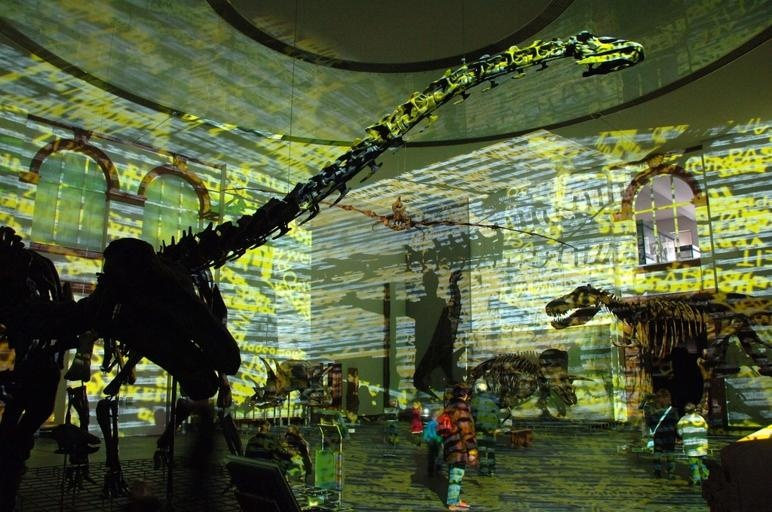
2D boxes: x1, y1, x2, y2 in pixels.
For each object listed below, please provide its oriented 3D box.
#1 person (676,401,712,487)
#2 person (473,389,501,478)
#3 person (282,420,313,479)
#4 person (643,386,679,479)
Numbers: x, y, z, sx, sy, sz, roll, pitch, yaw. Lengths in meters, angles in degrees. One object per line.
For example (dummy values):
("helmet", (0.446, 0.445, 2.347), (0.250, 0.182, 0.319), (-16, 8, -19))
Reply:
("person", (4.946, 3.023, 10.689), (0.436, 1.309, 0.607), (1, -5, 21))
("person", (1.736, 2.989, 11.557), (0.453, 1.521, 0.351), (2, -5, 7))
("person", (-1.321, 2.982, 10.315), (0.450, 0.936, 0.773), (-15, -19, -10))
("person", (4.788, 2.996, 11.544), (0.503, 1.463, 1.088), (1, -4, 21))
